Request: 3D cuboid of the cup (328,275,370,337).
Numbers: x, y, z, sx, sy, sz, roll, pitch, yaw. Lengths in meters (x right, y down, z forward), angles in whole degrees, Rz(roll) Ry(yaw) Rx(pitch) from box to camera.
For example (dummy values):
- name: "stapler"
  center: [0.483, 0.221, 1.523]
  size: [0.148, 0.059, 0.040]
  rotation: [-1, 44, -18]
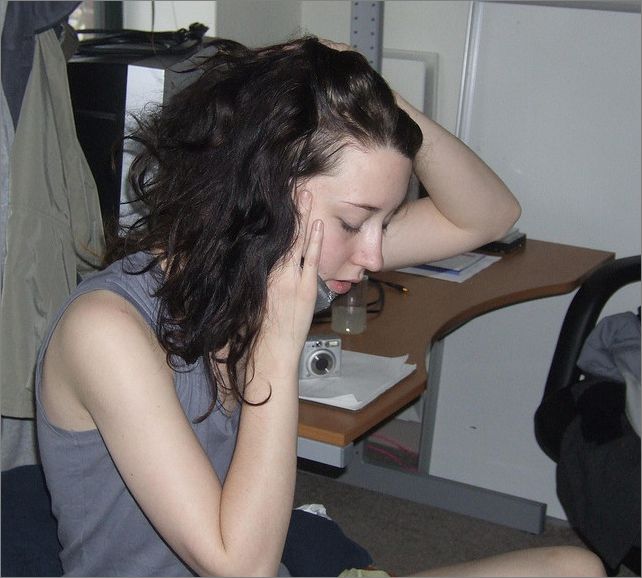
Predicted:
- name: "cup"
  center: [0.079, 0.038, 1.643]
  size: [0.110, 0.203, 0.122]
  rotation: [1, 8, 11]

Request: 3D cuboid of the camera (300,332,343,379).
- name: "camera"
  center: [-0.001, 0.137, 1.274]
  size: [0.089, 0.089, 0.051]
  rotation: [-6, 18, -17]

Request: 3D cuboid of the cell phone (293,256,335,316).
- name: "cell phone"
  center: [-0.009, -0.003, 1.054]
  size: [0.060, 0.086, 0.024]
  rotation: [-34, 33, -18]
